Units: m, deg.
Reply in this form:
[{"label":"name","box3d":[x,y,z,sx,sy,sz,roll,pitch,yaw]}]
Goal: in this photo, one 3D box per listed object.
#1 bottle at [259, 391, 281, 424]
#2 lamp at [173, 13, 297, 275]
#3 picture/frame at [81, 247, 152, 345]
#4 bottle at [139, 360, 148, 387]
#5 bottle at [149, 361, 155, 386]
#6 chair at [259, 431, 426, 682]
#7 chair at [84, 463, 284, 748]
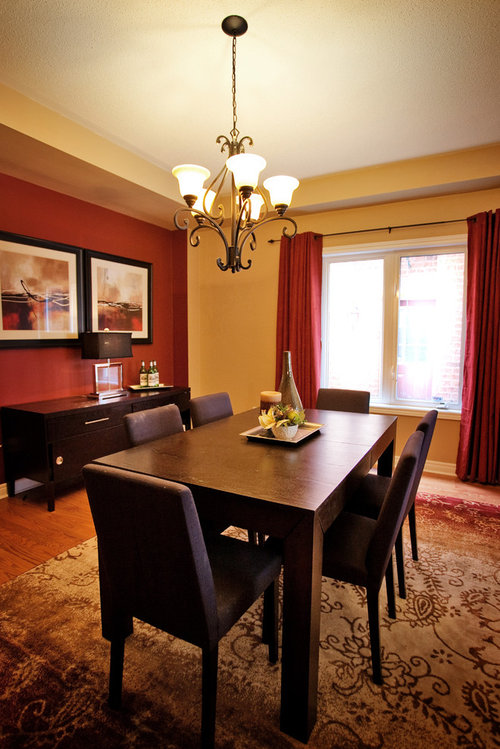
[{"label":"bottle","box3d":[0.076,0.145,2.337,0.088,0.118,0.095,5,4,0]},{"label":"lamp","box3d":[-0.063,-1.068,2.368,0.527,1.120,0.547,-1,-5,13]},{"label":"picture/frame","box3d":[-1.054,-0.617,4.057,0.031,0.630,0.794,1,2,21]},{"label":"bottle","box3d":[-0.893,-0.014,4.380,0.070,0.201,0.418,-2,9,-14]},{"label":"bottle","box3d":[-0.791,-0.008,4.277,0.061,0.181,0.137,-1,8,-5]},{"label":"chair","box3d":[0.461,0.572,2.253,0.585,1.218,0.622,4,5,28]},{"label":"chair","box3d":[-0.189,0.619,1.632,0.417,0.769,0.496,4,9,27]}]
